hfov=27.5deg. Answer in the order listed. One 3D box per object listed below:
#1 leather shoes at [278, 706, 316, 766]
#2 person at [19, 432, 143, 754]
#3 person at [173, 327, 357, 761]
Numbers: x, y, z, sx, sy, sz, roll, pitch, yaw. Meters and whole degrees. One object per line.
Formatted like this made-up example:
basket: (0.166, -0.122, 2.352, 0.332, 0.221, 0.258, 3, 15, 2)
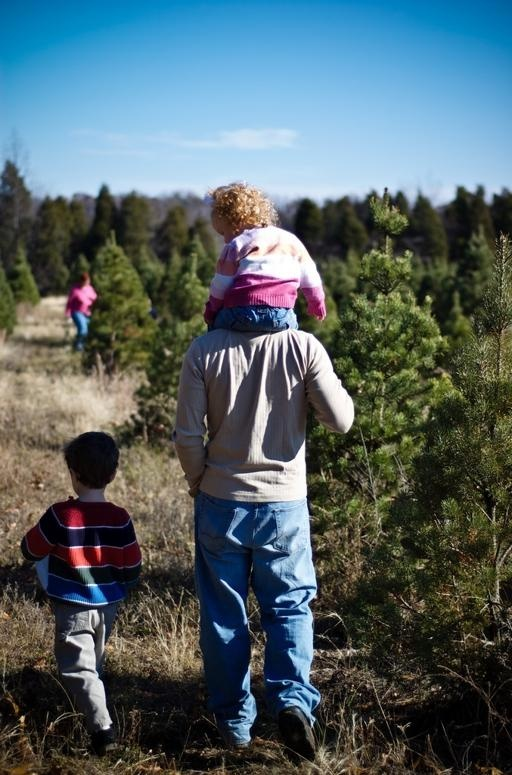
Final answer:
leather shoes: (0.142, 1.220, 3.734, 0.089, 0.265, 0.110, -6, 9, 11)
person: (-0.647, 0.759, 4.113, 0.424, 1.135, 0.389, 4, 9, 33)
person: (0.005, 0.558, 3.898, 0.591, 1.551, 0.448, 3, 8, 26)
